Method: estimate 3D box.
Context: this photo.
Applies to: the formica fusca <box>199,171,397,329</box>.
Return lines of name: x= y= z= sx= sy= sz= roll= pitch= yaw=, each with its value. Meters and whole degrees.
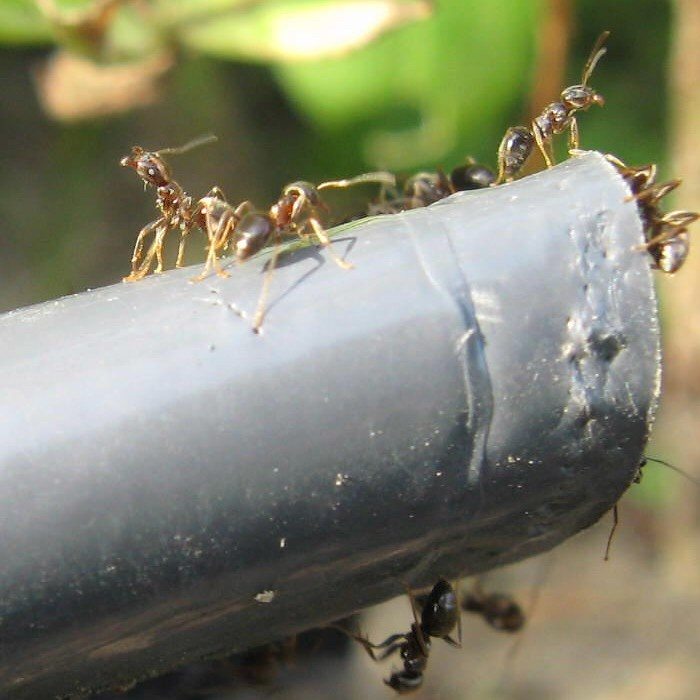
formica fusca: x=-0.120 y=-0.265 z=1.983 sx=0.378 sy=0.106 sz=0.223 roll=-13 pitch=1 yaw=-8

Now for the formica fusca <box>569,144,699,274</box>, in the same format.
formica fusca: x=0.529 y=-0.232 z=1.623 sx=0.090 sy=0.252 sz=0.188 roll=-43 pitch=10 yaw=-4
